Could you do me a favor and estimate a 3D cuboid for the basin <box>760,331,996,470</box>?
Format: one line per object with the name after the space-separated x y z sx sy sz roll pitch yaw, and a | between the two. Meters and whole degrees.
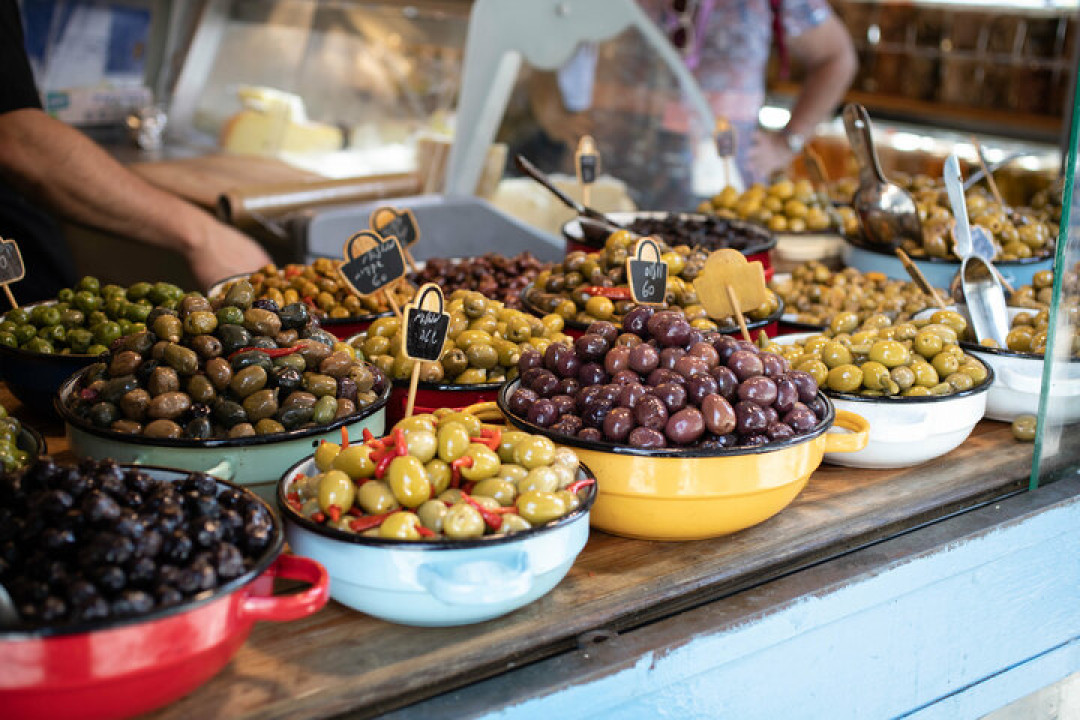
0.924 0.147 2.251 0.476 0.194 0.546 4 16 40 | basin

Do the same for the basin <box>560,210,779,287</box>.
0.529 -0.449 2.925 0.430 0.151 0.438 2 15 0 | basin

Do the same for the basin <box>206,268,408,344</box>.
-0.645 -0.177 2.403 0.348 0.118 0.322 0 14 0 | basin

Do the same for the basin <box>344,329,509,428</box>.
-0.270 0.016 2.111 0.275 0.169 0.245 2 12 -7 | basin

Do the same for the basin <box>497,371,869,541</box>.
0.336 0.237 2.011 0.652 0.284 0.836 11 17 39 | basin

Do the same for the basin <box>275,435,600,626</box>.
-0.217 0.368 1.598 0.606 0.268 0.229 6 18 3 | basin
